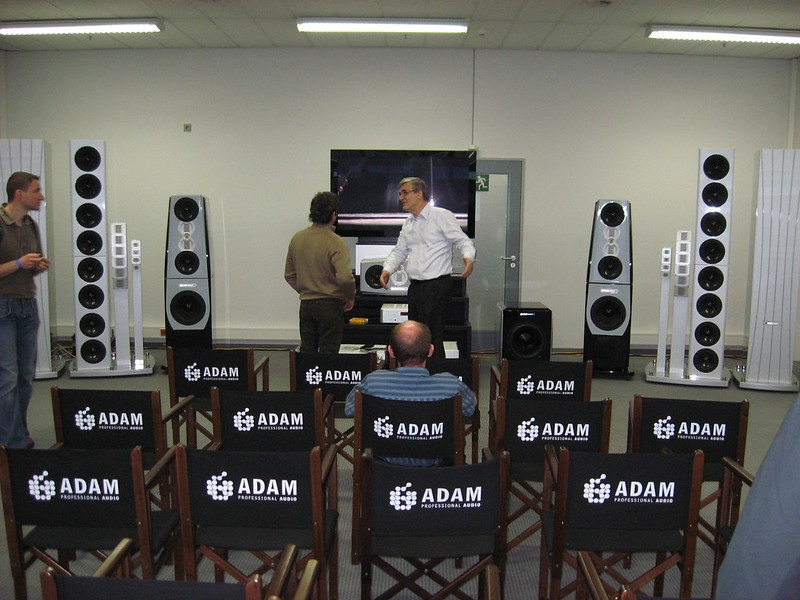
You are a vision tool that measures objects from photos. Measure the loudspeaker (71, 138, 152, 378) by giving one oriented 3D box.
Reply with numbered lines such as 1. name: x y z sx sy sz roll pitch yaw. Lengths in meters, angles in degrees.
1. loudspeaker: -2.779 -0.347 6.185 0.653 2.173 0.340 -4 7 -30

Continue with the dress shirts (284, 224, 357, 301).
1. dress shirts: -0.570 -0.263 4.859 0.454 0.550 0.136 0 6 9

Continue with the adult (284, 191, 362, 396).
1. adult: -0.599 -0.026 5.074 0.528 1.599 0.366 13 23 22

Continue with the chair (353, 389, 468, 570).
1. chair: 0.040 0.831 3.490 0.695 1.155 0.761 0 10 -1

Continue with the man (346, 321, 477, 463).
1. man: 0.041 0.597 3.488 0.698 1.056 0.499 1 21 -4

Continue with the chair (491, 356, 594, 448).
1. chair: 0.847 0.528 4.089 0.523 0.781 0.516 1 6 4

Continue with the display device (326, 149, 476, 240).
1. display device: 0.030 -1.010 6.259 0.942 0.653 0.037 2 4 0

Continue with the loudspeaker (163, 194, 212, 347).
1. loudspeaker: -1.984 -0.247 6.200 0.432 1.405 0.218 -3 6 -19

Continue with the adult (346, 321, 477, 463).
1. adult: 0.041 0.614 3.473 0.703 1.044 0.473 -1 20 -7

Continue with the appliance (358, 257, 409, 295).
1. appliance: -0.173 -0.181 6.382 0.530 0.402 0.305 0 4 -3

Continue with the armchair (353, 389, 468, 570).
1. armchair: 0.054 0.841 3.515 0.695 1.155 0.761 0 10 -1

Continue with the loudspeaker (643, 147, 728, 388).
1. loudspeaker: 2.860 -0.303 6.453 0.697 2.170 0.947 2 7 27

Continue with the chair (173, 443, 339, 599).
1. chair: -0.603 0.864 3.127 0.688 1.079 0.705 1 4 2

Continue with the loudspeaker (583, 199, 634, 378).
1. loudspeaker: 1.984 -0.093 6.324 0.427 1.680 0.212 1 6 17

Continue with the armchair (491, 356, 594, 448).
1. armchair: 0.840 0.548 4.176 0.523 0.781 0.516 1 6 4

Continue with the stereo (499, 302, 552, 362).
1. stereo: 1.216 0.309 6.454 0.421 0.481 0.643 0 5 5

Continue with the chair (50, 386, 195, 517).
1. chair: -1.409 0.766 3.655 0.613 0.955 0.640 0 7 -1
